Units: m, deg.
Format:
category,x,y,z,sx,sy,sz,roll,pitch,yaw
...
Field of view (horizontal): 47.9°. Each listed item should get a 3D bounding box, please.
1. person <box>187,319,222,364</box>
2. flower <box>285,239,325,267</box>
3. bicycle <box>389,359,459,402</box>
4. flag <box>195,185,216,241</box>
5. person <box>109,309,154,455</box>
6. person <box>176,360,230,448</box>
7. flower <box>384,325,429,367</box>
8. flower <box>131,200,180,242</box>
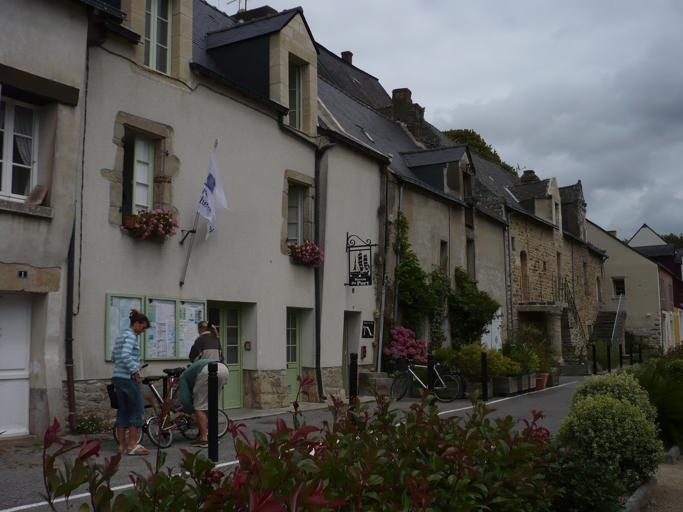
category,x,y,z,sx,sy,sz,roll,pitch,yaw
person,-2.213,1.373,12.594,0.496,0.705,0.811,0,-10,-19
flower,-0.774,-0.074,16.480,0.535,0.358,0.545,5,1,41
bicycle,1.944,2.917,17.911,1.586,0.995,1.428,-6,-10,16
flag,-2.476,-0.855,14.056,0.325,0.948,0.591,-1,-9,-10
person,-3.008,1.778,10.851,0.504,2.023,0.362,-2,-8,-1
person,-2.010,2.095,11.085,0.713,1.288,2.159,-1,-10,-12
flower,1.619,2.214,19.123,0.745,0.968,0.989,4,-7,-34
flower,-3.245,-0.613,13.212,1.007,0.658,0.527,2,-10,-31
